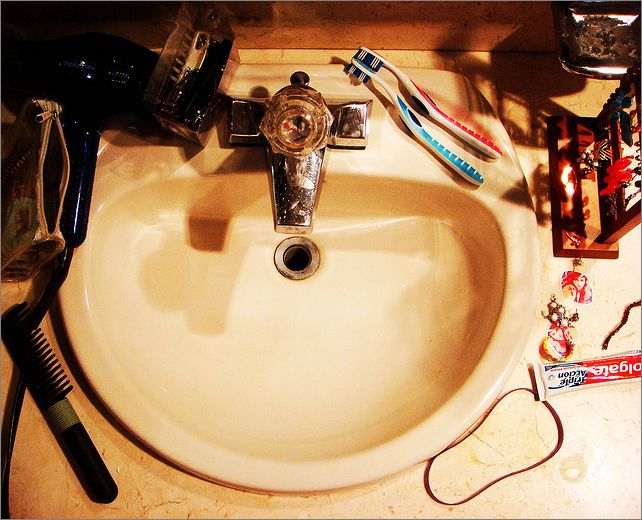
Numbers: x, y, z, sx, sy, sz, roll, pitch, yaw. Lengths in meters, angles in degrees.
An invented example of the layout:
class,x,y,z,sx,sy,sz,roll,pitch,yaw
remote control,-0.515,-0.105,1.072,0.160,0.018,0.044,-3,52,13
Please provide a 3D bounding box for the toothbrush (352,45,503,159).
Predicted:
class,x,y,z,sx,sy,sz,roll,pitch,yaw
toothbrush,0.158,-0.235,0.939,0.221,0.025,0.046,44,47,-1

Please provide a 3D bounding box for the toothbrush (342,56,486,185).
class,x,y,z,sx,sy,sz,roll,pitch,yaw
toothbrush,0.135,-0.203,0.929,0.218,0.023,0.037,51,56,-4

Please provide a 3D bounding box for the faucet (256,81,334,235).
class,x,y,z,sx,sy,sz,roll,pitch,yaw
faucet,-0.030,-0.142,0.903,0.092,0.172,0.223,1,82,-1
